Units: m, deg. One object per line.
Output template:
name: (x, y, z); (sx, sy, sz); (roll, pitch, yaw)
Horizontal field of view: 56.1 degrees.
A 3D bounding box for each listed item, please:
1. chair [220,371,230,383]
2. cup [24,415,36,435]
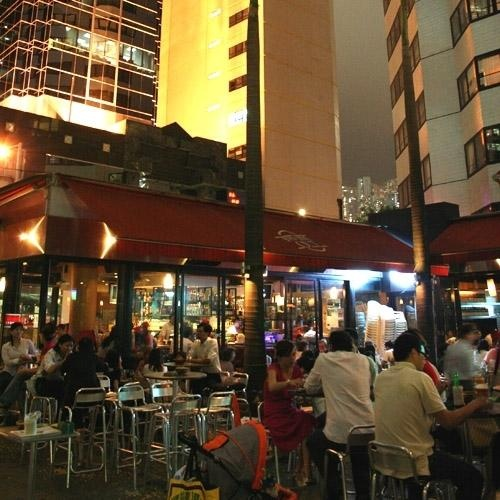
chair: (-0.474, 2.367, 8.731); (0.242, 0.236, 0.143); (-2, -2, 15)
cup: (-2.120, 1.673, 4.495); (0.115, 0.172, 0.148); (2, -11, -19)
